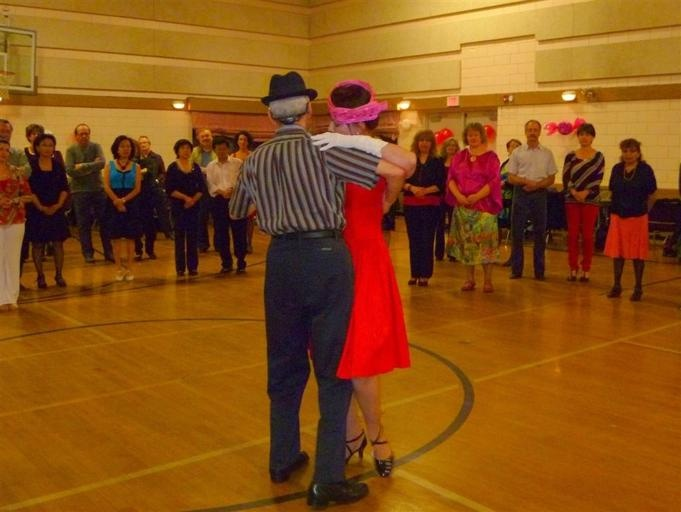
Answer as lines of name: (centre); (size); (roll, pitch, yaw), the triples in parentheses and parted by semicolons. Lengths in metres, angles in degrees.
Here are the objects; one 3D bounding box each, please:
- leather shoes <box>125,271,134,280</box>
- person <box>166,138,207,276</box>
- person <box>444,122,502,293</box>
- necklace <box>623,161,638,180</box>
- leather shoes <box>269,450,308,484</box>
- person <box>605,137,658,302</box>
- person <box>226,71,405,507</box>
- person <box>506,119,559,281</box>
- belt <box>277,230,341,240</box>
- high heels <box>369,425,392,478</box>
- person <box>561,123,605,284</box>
leather shoes: (-2.919, 0.273, 7.532); (0.114, 0.113, 0.117); (-2, -5, 43)
person: (-2.241, -0.714, 7.930); (0.554, 1.966, 0.545); (-4, 9, -26)
person: (1.669, -0.598, 6.779); (0.679, 2.077, 0.426); (3, 9, 16)
necklace: (3.374, -1.007, 6.301); (0.118, 0.239, 0.054); (0, -21, 37)
leather shoes: (-0.248, 1.040, 2.711); (0.077, 0.103, 0.233); (10, 21, 28)
person: (3.424, -0.439, 6.405); (0.478, 1.877, 0.398); (4, 10, 27)
person: (-0.136, 0.130, 2.510); (0.738, 1.962, 0.443); (6, 11, 37)
person: (2.713, -0.810, 7.724); (0.628, 2.216, 0.627); (3, 9, 21)
belt: (-0.140, -0.098, 2.407); (0.281, 0.044, 0.099); (-1, 9, -6)
high heels: (0.206, 0.979, 2.688); (0.096, 0.288, 0.111); (-13, 9, 0)
person: (3.529, -0.806, 7.907); (0.505, 2.167, 1.484); (4, 9, 25)
